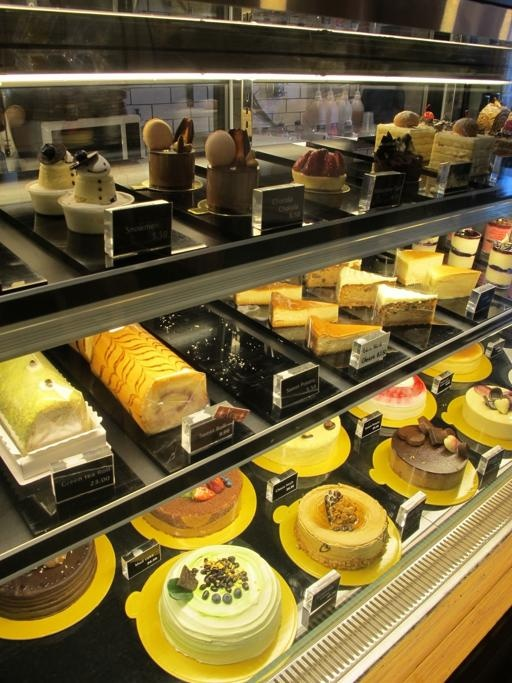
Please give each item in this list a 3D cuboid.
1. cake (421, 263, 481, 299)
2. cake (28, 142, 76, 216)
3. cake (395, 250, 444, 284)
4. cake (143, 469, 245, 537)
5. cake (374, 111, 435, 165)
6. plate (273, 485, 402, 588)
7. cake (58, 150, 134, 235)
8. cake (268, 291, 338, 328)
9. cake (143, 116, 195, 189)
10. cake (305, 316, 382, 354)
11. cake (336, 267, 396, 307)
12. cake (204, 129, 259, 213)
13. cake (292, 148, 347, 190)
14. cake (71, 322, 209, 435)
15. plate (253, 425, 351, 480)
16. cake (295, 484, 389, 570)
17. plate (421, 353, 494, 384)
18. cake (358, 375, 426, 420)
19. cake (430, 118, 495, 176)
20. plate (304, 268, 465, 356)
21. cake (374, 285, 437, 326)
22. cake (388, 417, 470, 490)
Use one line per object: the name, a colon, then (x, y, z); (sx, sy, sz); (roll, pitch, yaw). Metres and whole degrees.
cake: (0.763, -0.235, 1.994); (0.203, 0.111, 0.148); (11, 33, 17)
cake: (-0.367, -0.298, 0.934); (0.103, 0.116, 0.103); (16, 24, 20)
cake: (0.686, -0.326, 2.134); (0.168, 0.112, 0.166); (8, 26, 15)
cake: (-0.144, 0.530, 1.722); (0.245, 0.082, 0.248); (-23, 20, -17)
cake: (0.445, -0.612, 1.517); (0.168, 0.132, 0.166); (-8, 23, -17)
plate: (0.281, 0.627, 1.775); (0.422, 0.120, 0.405); (13, 29, 20)
cake: (-0.266, -0.261, 0.858); (0.135, 0.119, 0.126); (-5, 33, -18)
cake: (0.158, -0.111, 1.704); (0.207, 0.079, 0.108); (0, 27, -6)
cake: (-0.189, -0.406, 1.084); (0.107, 0.135, 0.093); (9, 35, 10)
cake: (0.278, -0.018, 1.653); (0.232, 0.080, 0.113); (-5, 29, -14)
cake: (0.401, -0.207, 1.939); (0.220, 0.122, 0.116); (3, 44, -1)
cake: (-0.047, -0.343, 1.028); (0.104, 0.155, 0.149); (-1, 27, -2)
cake: (0.160, -0.441, 1.291); (0.138, 0.092, 0.133); (1, 28, -5)
cake: (-0.297, 0.068, 1.308); (0.190, 0.133, 0.391); (-15, 29, -35)
plate: (0.202, 0.448, 1.993); (0.306, 0.092, 0.322); (15, 34, 36)
cake: (0.303, 0.634, 1.777); (0.333, 0.106, 0.330); (-4, 24, -14)
plate: (1.046, 0.148, 2.574); (0.286, 0.065, 0.273); (-11, 28, 1)
cake: (0.593, 0.255, 2.277); (0.274, 0.093, 0.272); (11, 26, 25)
cake: (0.612, -0.578, 1.565); (0.216, 0.197, 0.195); (14, 28, 30)
plate: (0.372, -0.105, 1.822); (0.362, 0.148, 0.477); (26, 48, 30)
cake: (0.547, -0.115, 1.834); (0.187, 0.117, 0.115); (0, 4, 20)
cake: (0.700, 0.456, 2.081); (0.305, 0.162, 0.303); (17, 32, 26)
